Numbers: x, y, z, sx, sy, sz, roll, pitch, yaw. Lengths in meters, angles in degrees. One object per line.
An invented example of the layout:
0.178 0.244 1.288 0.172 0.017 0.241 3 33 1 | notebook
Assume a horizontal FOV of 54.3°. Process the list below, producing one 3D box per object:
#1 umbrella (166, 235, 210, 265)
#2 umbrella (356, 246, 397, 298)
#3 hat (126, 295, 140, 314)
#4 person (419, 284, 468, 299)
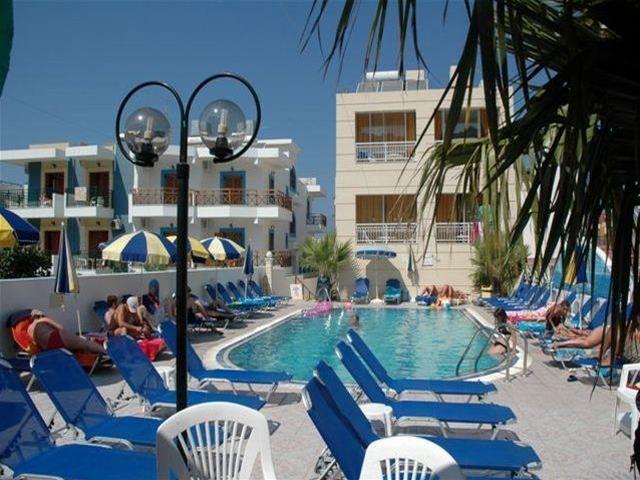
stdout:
-2.568 0.221 12.135 0.737 0.383 0.815 10 -8 -10 | umbrella
2.082 1.305 24.114 1.608 2.189 1.784 -2 0 -11 | umbrella
-3.335 1.163 11.142 0.176 0.159 0.313 12 -6 -9 | hat
4.528 2.001 23.362 0.964 0.435 0.775 -5 -5 32 | person
